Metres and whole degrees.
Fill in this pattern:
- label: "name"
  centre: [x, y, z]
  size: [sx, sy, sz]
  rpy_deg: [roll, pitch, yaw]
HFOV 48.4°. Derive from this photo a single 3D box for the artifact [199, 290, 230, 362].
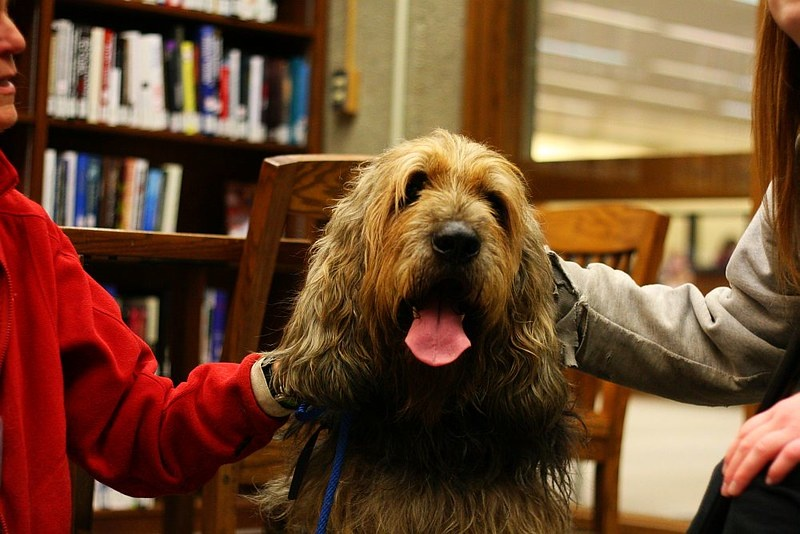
- label: "artifact"
  centre: [-0.789, 0.257, 3.755]
  size: [0.170, 0.281, 0.303]
  rpy_deg: [2, -4, -2]
